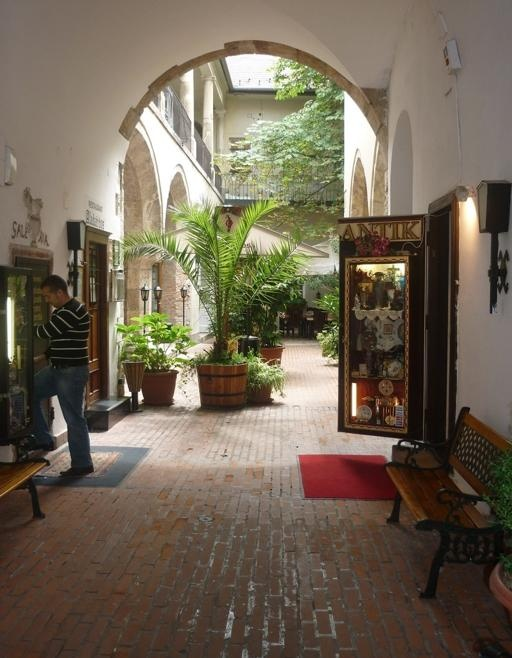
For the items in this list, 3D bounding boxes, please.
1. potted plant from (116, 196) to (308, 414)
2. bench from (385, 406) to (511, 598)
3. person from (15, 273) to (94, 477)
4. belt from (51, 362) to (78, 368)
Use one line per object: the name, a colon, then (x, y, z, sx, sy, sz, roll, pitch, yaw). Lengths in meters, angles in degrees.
potted plant: (-0.344, -0.429, 8.625, 1.973, 3.683, 2.961, -4, -7, 35)
bench: (1.120, 1.016, 2.670, 0.396, 0.633, 0.980, 3, 1, 6)
person: (-1.846, 0.446, 4.457, 0.557, 1.932, 1.112, 3, -6, -24)
belt: (-1.789, 0.354, 4.287, 0.233, 0.042, 0.057, -1, -5, 9)
